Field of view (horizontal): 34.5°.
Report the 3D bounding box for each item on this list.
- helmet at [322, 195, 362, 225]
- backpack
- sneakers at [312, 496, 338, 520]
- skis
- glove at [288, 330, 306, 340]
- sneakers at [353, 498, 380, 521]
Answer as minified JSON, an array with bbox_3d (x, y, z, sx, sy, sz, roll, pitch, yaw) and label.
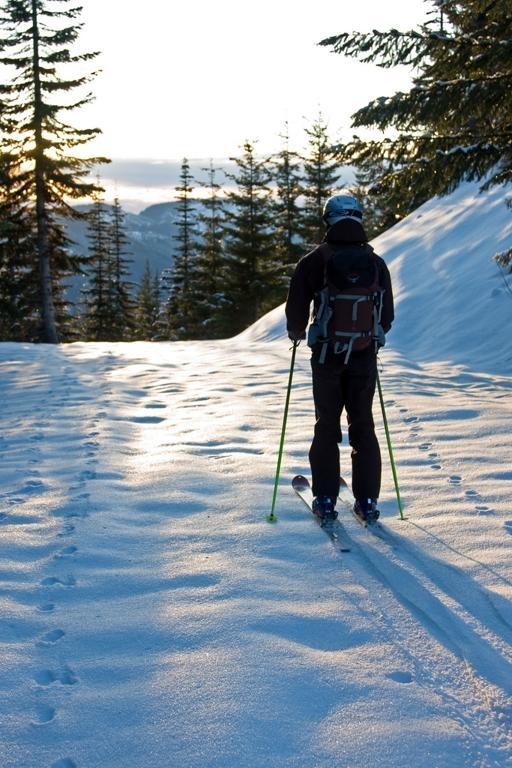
[{"bbox_3d":[0.511,-1.045,4.800,0.194,0.214,0.230,0,22,-3],"label":"helmet"},{"bbox_3d":[0.517,-0.469,4.673,0.458,0.653,0.253,-2,10,-2],"label":"backpack"},{"bbox_3d":[0.405,0.716,4.773,0.073,0.092,0.206,1,10,-5],"label":"sneakers"},{"bbox_3d":[0.417,0.753,4.869,0.192,0.085,0.665,-2,17,-13],"label":"skis"},{"bbox_3d":[0.244,-0.297,4.844,0.071,0.051,0.074,0,1,-7],"label":"glove"},{"bbox_3d":[0.652,0.726,4.805,0.074,0.085,0.203,1,9,-4],"label":"sneakers"}]
